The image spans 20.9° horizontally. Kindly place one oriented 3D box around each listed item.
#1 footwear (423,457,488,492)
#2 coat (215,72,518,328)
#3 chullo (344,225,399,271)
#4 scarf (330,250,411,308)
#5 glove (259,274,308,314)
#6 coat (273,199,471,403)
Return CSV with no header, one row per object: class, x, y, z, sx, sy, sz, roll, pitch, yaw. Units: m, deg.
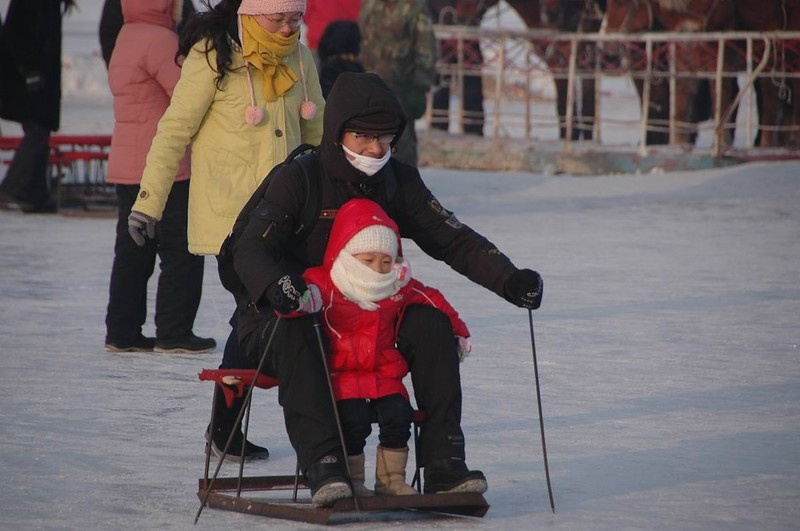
footwear,0.500,1.666,17.051,0.320,0.315,0.835,12,-11,-21
coat,-0.317,-0.508,17.214,2.433,1.953,1.839,-6,15,-24
chullo,-0.206,-0.116,16.952,0.311,0.322,0.414,25,-26,-35
scarf,-0.250,0.142,16.904,0.443,0.281,0.520,-12,24,-39
glove,-0.913,0.232,16.805,0.342,0.306,0.195,6,3,41
coat,-0.286,0.294,16.955,1.582,2.094,0.725,-4,0,-29
